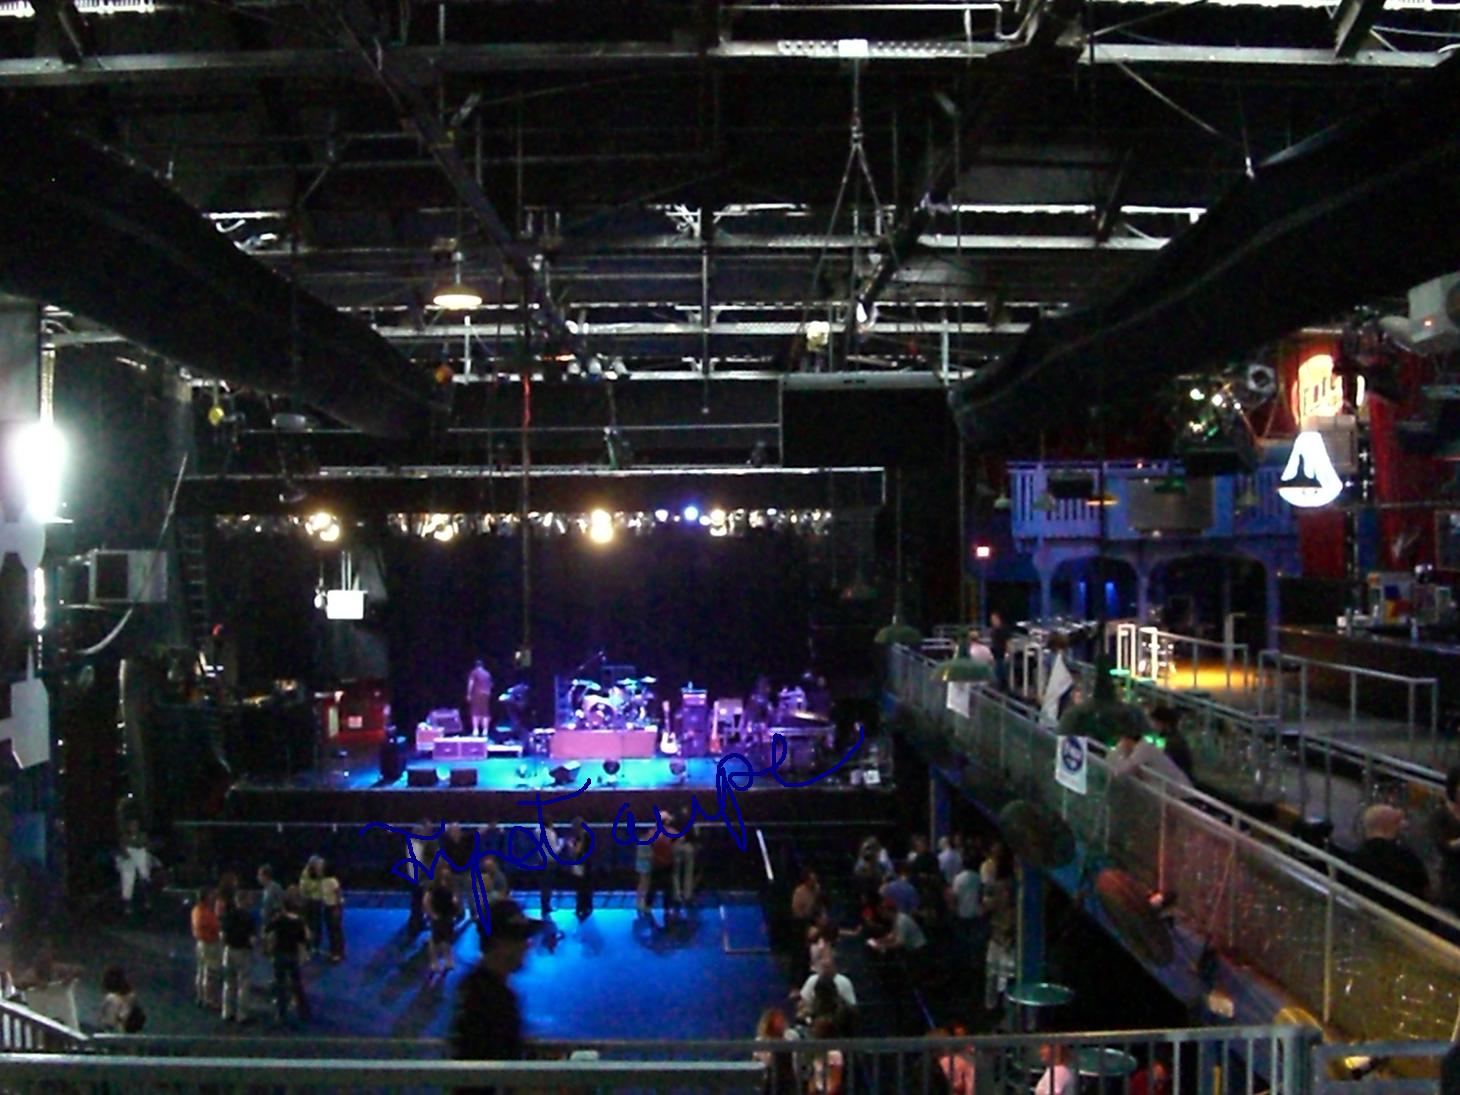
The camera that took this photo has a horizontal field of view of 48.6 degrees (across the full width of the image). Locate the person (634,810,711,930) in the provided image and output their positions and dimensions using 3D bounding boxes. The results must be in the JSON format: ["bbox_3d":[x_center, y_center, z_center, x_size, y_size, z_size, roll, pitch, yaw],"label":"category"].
[{"bbox_3d":[-0.697,3.584,18.313,0.680,1.198,1.205,-2,-3,-3],"label":"person"}]

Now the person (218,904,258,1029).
[{"bbox_3d":[-4.630,3.912,15.179,0.307,1.057,0.567,-1,-3,-19],"label":"person"}]

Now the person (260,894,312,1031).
[{"bbox_3d":[-4.168,3.797,15.152,0.364,1.141,0.304,0,11,-32],"label":"person"}]

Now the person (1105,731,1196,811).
[{"bbox_3d":[3.100,1.647,11.977,0.566,0.446,1.012,-3,-3,13],"label":"person"}]

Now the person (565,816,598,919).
[{"bbox_3d":[-1.702,3.640,18.461,0.287,1.074,0.941,-2,-3,-6],"label":"person"}]

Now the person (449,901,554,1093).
[{"bbox_3d":[-1.416,2.621,9.610,0.511,0.937,0.464,-2,-2,-11],"label":"person"}]

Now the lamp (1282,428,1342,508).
[{"bbox_3d":[5.940,-0.825,16.440,0.592,0.776,0.463,-3,-3,22],"label":"lamp"}]

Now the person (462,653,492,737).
[{"bbox_3d":[-3.557,2.131,23.092,0.367,1.085,1.165,-2,-3,-8],"label":"person"}]

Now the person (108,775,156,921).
[{"bbox_3d":[-6.916,3.533,18.759,0.443,1.184,1.470,-1,-3,-22],"label":"person"}]
